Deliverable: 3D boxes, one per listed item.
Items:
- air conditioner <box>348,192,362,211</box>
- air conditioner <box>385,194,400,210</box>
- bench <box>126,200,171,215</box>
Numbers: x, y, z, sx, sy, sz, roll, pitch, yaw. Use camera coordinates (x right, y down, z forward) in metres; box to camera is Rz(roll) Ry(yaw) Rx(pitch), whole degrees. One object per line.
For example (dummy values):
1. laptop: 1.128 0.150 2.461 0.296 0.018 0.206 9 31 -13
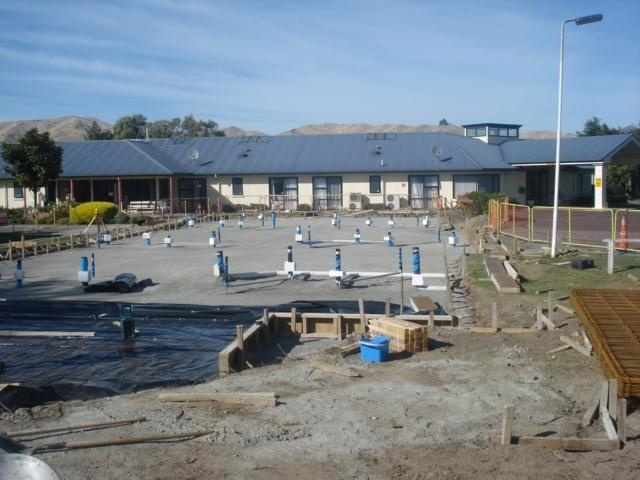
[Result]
1. air conditioner: 3.543 -3.949 60.375 1.433 1.562 1.011 -2 11 2
2. air conditioner: 7.230 -3.885 59.905 1.391 1.394 0.662 -2 11 5
3. bench: -16.779 -3.148 57.654 4.465 1.245 1.651 3 12 25
